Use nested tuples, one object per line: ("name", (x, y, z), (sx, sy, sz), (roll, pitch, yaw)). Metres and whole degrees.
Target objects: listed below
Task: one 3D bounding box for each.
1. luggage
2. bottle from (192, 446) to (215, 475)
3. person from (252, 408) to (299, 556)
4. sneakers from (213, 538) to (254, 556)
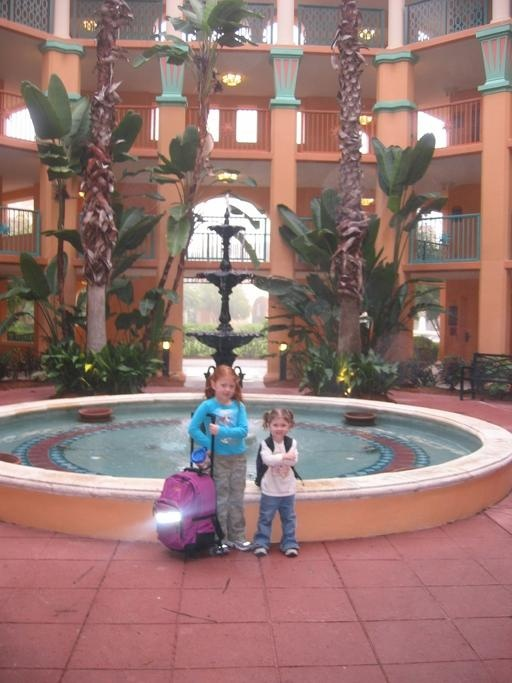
("luggage", (-0.380, 0.778, 3.340), (0.326, 0.770, 0.331), (1, -1, 29))
("bottle", (-0.295, 0.671, 3.359), (0.114, 0.116, 0.106), (26, 51, 28))
("person", (0.119, 0.803, 3.487), (0.260, 0.817, 0.344), (0, 1, 2))
("sneakers", (-0.133, 1.181, 3.426), (0.227, 0.098, 0.085), (-8, 2, -6))
